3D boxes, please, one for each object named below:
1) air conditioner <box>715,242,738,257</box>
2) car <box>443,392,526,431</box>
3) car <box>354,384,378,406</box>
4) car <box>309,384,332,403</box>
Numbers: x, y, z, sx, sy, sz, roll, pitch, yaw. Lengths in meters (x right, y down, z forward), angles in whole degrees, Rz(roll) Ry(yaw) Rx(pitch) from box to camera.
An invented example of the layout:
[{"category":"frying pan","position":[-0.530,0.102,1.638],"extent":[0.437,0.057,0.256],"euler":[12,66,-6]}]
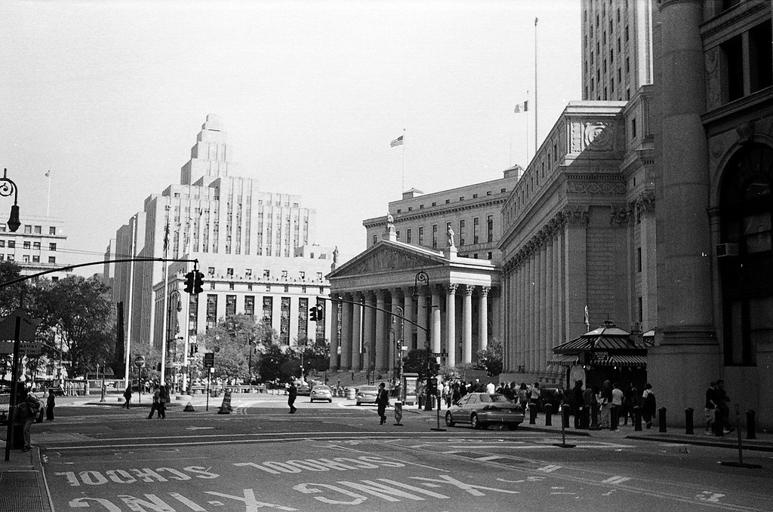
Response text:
[{"category":"air conditioner","position":[17.932,-0.344,57.159],"extent":[0.754,0.576,0.766],"euler":[0,-3,-17]},{"category":"car","position":[5.281,8.530,59.947],"extent":[1.729,2.002,4.293],"euler":[11,-16,-39]},{"category":"car","position":[-1.951,12.250,94.133],"extent":[1.970,1.594,3.290],"euler":[1,-1,-10]},{"category":"car","position":[-6.042,12.597,99.861],"extent":[1.836,1.954,3.789],"euler":[1,-13,-2]}]
